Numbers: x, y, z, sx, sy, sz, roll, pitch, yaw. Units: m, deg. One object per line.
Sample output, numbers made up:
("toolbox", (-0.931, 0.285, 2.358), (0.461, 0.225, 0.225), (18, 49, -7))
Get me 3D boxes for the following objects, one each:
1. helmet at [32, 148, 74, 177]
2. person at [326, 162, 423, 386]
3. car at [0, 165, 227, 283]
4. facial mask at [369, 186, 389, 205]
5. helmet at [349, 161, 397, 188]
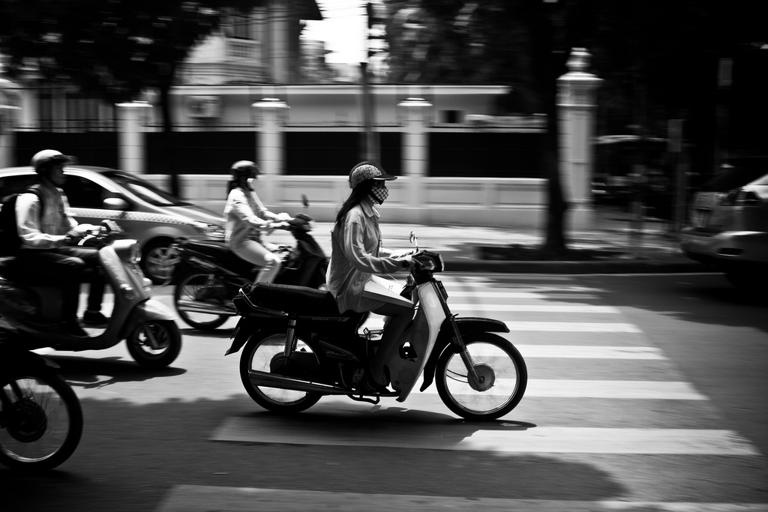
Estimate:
("helmet", (-3.691, -1.046, 9.983), (0.443, 0.284, 0.314), (-14, 7, -13))
("person", (-0.105, 0.168, 8.642), (0.873, 2.104, 0.492), (5, 10, 15))
("car", (-4.452, -0.586, 14.275), (3.713, 1.359, 1.968), (-1, 3, 1))
("facial mask", (-0.079, -0.583, 8.740), (0.207, 0.161, 0.146), (-3, -6, 25))
("helmet", (-0.121, -0.784, 8.684), (0.436, 0.200, 0.246), (-10, 16, 8))
